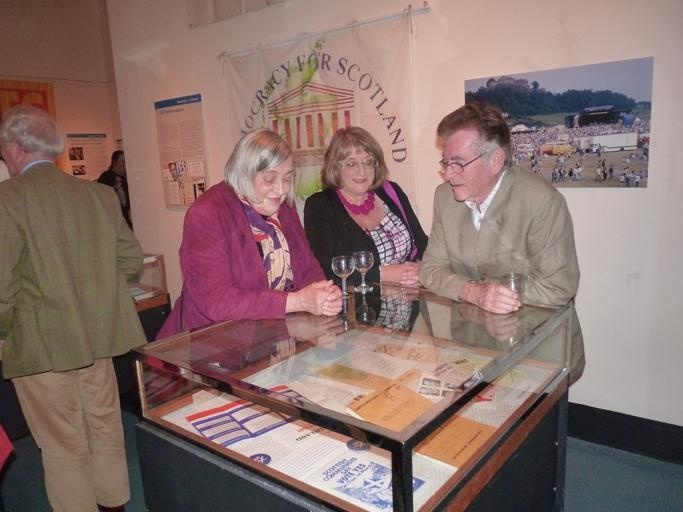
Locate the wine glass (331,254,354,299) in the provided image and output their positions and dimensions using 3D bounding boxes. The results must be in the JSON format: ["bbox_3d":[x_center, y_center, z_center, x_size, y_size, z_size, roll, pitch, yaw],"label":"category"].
[{"bbox_3d":[0.015,0.100,2.527,0.106,0.200,0.110,-2,15,3],"label":"wine glass"}]

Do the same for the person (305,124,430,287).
[{"bbox_3d":[0.176,-0.304,3.275,0.733,1.042,0.739,-6,19,-1],"label":"person"}]

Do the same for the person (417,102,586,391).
[{"bbox_3d":[0.848,0.185,2.727,0.752,1.823,0.681,4,13,39],"label":"person"}]
